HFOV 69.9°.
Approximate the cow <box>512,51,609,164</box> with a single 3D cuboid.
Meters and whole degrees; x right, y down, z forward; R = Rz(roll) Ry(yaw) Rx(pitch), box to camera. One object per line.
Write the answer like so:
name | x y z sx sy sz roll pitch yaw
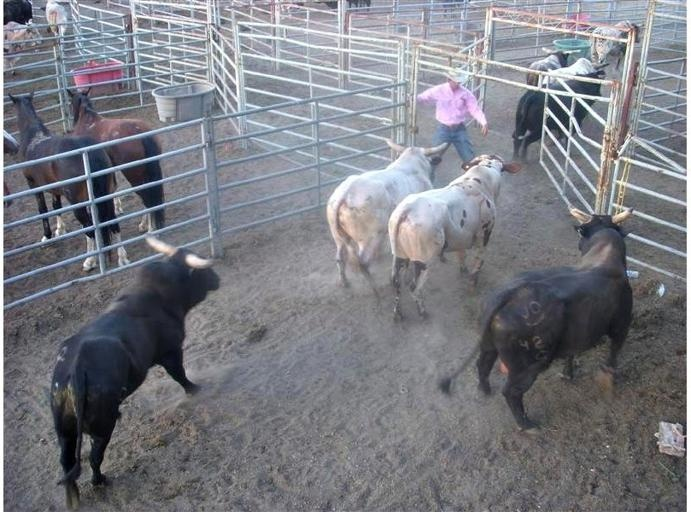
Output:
cow | 3.927 -2.719 9.338 0.976 1.639 2.112 20 30 32
